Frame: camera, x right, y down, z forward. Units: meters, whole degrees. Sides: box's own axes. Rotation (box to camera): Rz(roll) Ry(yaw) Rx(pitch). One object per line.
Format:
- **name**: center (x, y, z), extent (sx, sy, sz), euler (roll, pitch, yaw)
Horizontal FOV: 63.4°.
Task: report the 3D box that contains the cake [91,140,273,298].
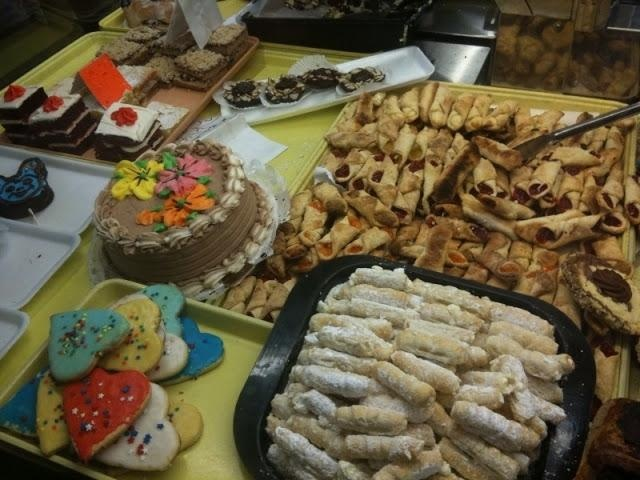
- **cake**: center (-0.798, -0.150, 3.135), extent (1.019, 0.482, 0.870), euler (11, 53, 16)
